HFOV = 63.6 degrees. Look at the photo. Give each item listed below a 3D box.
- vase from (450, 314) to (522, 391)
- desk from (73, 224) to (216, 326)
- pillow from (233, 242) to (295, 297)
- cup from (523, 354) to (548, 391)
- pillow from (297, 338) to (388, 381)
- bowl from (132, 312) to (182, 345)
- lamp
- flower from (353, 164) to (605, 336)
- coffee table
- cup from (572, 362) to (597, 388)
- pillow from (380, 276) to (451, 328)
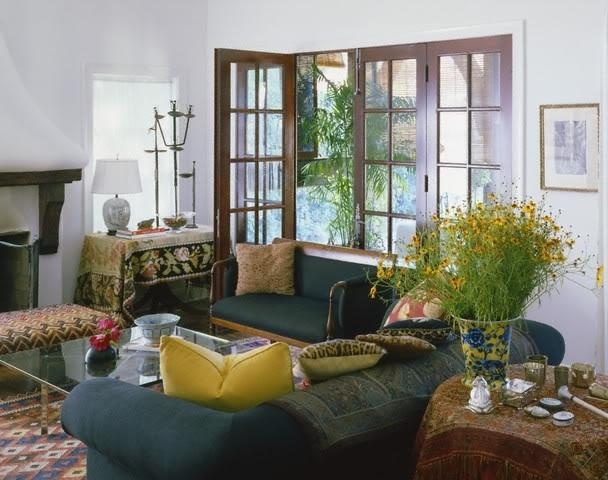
[{"bbox_3d":[0.676,0.413,1.834,0.229,0.247,0.220,0,-3,6],"label":"vase"},{"bbox_3d":[-1.722,0.305,5.560,0.994,0.699,1.465,3,6,30],"label":"desk"},{"bbox_3d":[-0.346,0.278,4.395,0.468,0.441,0.160,0,-2,5],"label":"pillow"},{"bbox_3d":[0.859,0.484,1.812,0.092,0.105,0.110,-3,3,-41],"label":"cup"},{"bbox_3d":[0.129,0.451,1.864,0.359,0.156,0.132,-10,-20,-25],"label":"pillow"},{"bbox_3d":[-1.024,0.621,3.362,0.303,0.164,0.307,1,2,0],"label":"bowl"},{"bbox_3d":[-1.944,-0.441,5.068,0.396,0.781,0.351,0,3,10],"label":"lamp"},{"bbox_3d":[1.121,0.039,2.950,1.447,0.820,1.293,-9,6,-34],"label":"flower"},{"bbox_3d":[-1.205,0.759,3.123,0.885,0.411,0.875,1,2,-44],"label":"coffee table"},{"bbox_3d":[1.007,0.493,1.775,0.083,0.074,0.094,0,-1,-1],"label":"cup"},{"bbox_3d":[0.681,0.346,2.880,0.390,0.143,0.453,-3,31,24],"label":"pillow"}]
